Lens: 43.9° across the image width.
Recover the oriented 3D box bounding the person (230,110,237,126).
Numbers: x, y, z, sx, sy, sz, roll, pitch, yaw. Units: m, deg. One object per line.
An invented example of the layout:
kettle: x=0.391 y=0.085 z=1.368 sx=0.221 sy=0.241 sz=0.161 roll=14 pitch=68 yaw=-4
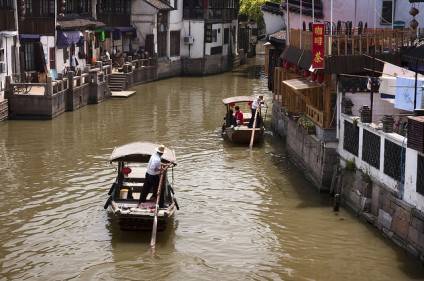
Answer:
person: x=1.282 y=-1.375 z=31.385 sx=0.449 sy=0.975 sz=0.728 roll=-1 pitch=14 yaw=2

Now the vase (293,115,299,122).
vase: x=4.358 y=-1.146 z=27.149 sx=0.259 sy=0.195 sz=0.264 roll=-1 pitch=5 yaw=-19

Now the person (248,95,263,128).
person: x=2.622 y=-1.689 z=31.241 sx=0.947 sy=2.544 sz=1.001 roll=4 pitch=58 yaw=4

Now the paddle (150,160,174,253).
paddle: x=-1.888 y=2.280 z=19.856 sx=0.458 sy=3.802 sz=0.349 roll=7 pitch=-30 yaw=1

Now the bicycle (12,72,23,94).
bicycle: x=-13.095 y=-3.854 z=35.407 sx=0.633 sy=1.111 sz=2.560 roll=-7 pitch=15 yaw=-20

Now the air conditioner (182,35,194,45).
air conditioner: x=-2.774 y=-11.712 z=61.408 sx=1.396 sy=1.101 sz=0.792 roll=0 pitch=-2 yaw=-2

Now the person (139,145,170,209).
person: x=-2.207 y=1.515 z=20.560 sx=1.061 sy=2.621 sz=0.888 roll=5 pitch=19 yaw=-10

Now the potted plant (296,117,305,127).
potted plant: x=4.471 y=-0.931 z=26.198 sx=0.392 sy=0.289 sz=0.404 roll=1 pitch=-1 yaw=7

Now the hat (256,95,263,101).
hat: x=2.766 y=-2.409 z=29.897 sx=0.414 sy=0.178 sz=0.433 roll=-2 pitch=28 yaw=-12

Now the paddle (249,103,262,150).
paddle: x=2.424 y=-0.686 z=30.081 sx=0.410 sy=0.149 sz=3.230 roll=7 pitch=47 yaw=5
